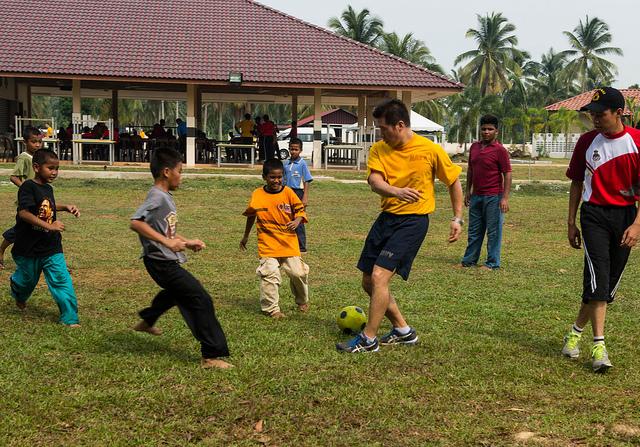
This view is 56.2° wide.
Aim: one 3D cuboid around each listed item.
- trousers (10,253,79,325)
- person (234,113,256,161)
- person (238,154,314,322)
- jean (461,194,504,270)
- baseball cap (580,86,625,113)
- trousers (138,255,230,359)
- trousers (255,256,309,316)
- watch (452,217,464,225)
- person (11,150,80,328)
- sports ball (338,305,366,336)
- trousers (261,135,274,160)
[{"bbox_3d":[-2.666,0.621,5.910,0.787,0.639,0.320,9,14,31],"label":"trousers"},{"bbox_3d":[-2.867,-3.362,23.414,0.913,1.830,0.548,2,11,5],"label":"person"},{"bbox_3d":[-0.493,0.137,6.352,0.769,1.606,0.662,8,14,28],"label":"person"},{"bbox_3d":[2.326,0.092,8.561,0.531,1.075,0.475,5,13,13],"label":"jean"},{"bbox_3d":[2.451,-1.068,5.175,0.328,0.216,0.252,6,13,22],"label":"baseball cap"},{"bbox_3d":[-1.193,0.689,5.072,0.874,0.835,0.255,9,14,31],"label":"trousers"},{"bbox_3d":[-0.406,0.687,6.436,0.574,0.660,0.370,2,-21,-26],"label":"trousers"},{"bbox_3d":[1.341,-0.027,5.852,0.109,0.038,0.107,30,2,18],"label":"watch"},{"bbox_3d":[-2.652,0.115,5.872,0.830,1.644,0.474,10,15,34],"label":"person"},{"bbox_3d":[0.335,0.926,5.851,0.273,0.242,0.303,-17,8,20],"label":"sports ball"},{"bbox_3d":[-1.986,-2.892,22.637,0.457,0.945,0.964,0,12,-7],"label":"trousers"}]
